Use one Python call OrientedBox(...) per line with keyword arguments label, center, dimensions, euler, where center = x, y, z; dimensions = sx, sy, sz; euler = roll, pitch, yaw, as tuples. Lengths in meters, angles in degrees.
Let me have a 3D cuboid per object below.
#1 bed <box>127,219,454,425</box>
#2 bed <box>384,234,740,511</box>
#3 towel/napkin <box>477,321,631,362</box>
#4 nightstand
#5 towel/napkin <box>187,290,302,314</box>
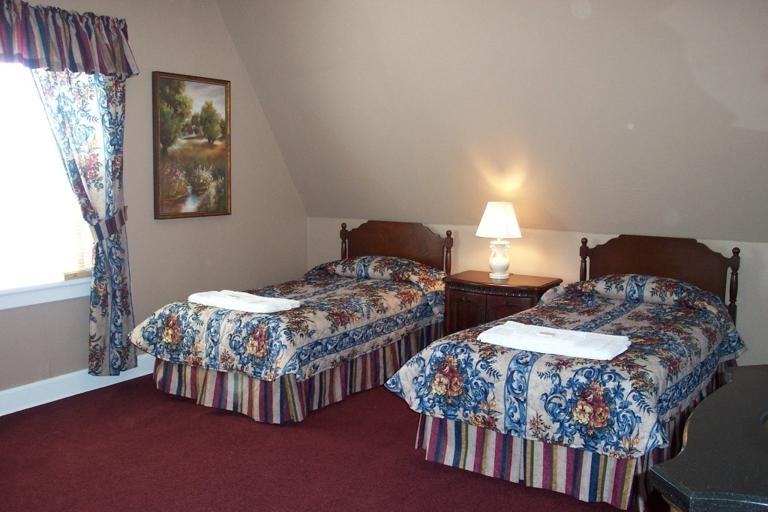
OrientedBox(label="bed", center=(-0.513, 0.617, 5.422), dimensions=(1.690, 1.256, 2.411), euler=(5, 8, 36))
OrientedBox(label="bed", center=(1.673, 0.799, 4.386), dimensions=(1.742, 1.347, 2.455), euler=(4, 7, 42))
OrientedBox(label="towel/napkin", center=(1.166, 0.591, 3.848), dimensions=(0.532, 0.099, 0.409), euler=(1, 7, 27))
OrientedBox(label="nightstand", center=(1.169, 0.263, 5.748), dimensions=(0.861, 0.918, 0.655), euler=(4, 7, 31))
OrientedBox(label="towel/napkin", center=(-1.235, 0.404, 4.893), dimensions=(0.984, 0.102, 0.350), euler=(3, 14, 20))
